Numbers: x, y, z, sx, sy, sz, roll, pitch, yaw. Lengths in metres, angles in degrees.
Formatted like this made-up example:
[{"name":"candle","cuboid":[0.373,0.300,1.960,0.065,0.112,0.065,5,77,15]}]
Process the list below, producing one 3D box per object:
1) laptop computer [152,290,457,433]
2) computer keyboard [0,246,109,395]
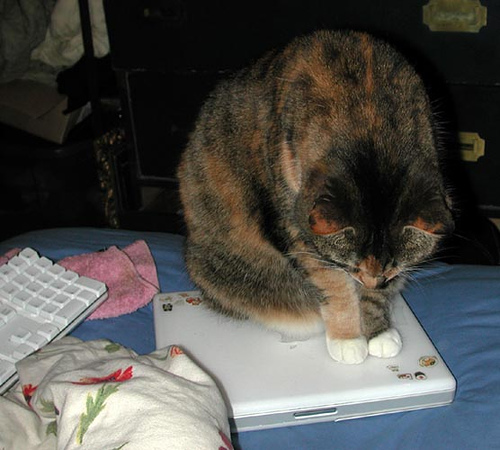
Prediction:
[{"name":"laptop computer","cuboid":[0.060,0.184,0.828,0.455,0.079,0.285,-4,43,-5]},{"name":"computer keyboard","cuboid":[-0.373,0.128,0.819,0.191,0.033,0.191,23,47,22]}]
